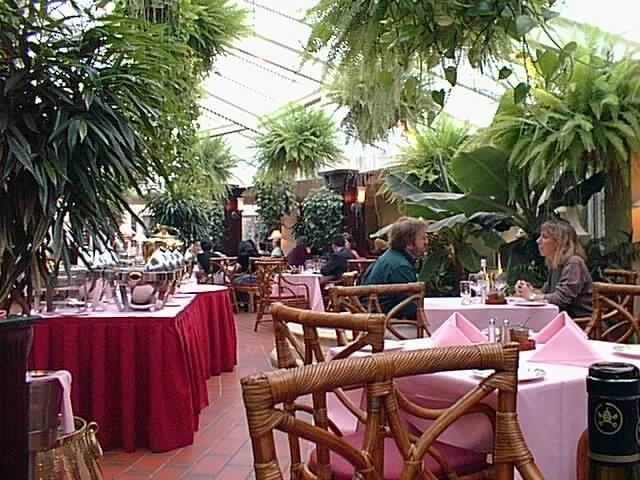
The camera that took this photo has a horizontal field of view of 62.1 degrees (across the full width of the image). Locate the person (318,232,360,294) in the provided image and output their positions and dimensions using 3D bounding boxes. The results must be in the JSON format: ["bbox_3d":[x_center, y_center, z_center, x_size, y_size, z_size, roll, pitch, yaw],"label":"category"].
[{"bbox_3d":[0.219,0.348,7.648,0.353,0.380,0.946,7,-48,1],"label":"person"}]

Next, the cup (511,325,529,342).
[{"bbox_3d":[0.817,0.379,2.171,0.056,0.045,0.060,-2,-1,0],"label":"cup"}]

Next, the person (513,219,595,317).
[{"bbox_3d":[1.647,0.246,4.002,0.628,0.899,0.639,0,-16,21],"label":"person"}]

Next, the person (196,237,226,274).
[{"bbox_3d":[-1.984,0.400,9.472,0.472,0.800,0.467,-14,18,-37],"label":"person"}]

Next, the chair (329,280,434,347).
[{"bbox_3d":[0.344,0.356,3.036,0.477,0.640,0.410,0,3,19],"label":"chair"}]

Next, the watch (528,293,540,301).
[{"bbox_3d":[1.499,0.398,3.730,0.072,0.032,0.055,0,0,-18],"label":"watch"}]
